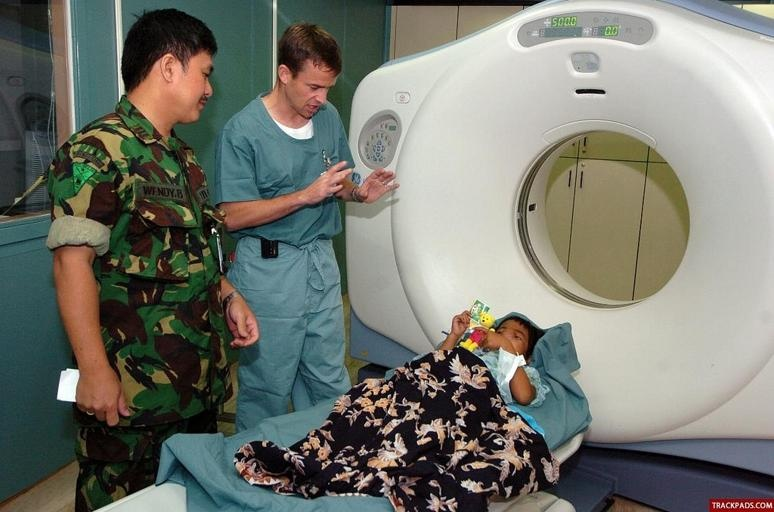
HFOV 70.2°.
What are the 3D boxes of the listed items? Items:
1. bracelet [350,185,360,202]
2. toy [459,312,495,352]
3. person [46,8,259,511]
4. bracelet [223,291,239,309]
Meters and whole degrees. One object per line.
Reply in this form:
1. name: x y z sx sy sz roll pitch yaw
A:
1. bracelet: -0.136 -0.274 2.429 0.020 0.058 0.048 4 2 1
2. toy: 0.366 0.307 2.210 0.108 0.061 0.170 19 55 36
3. person: -0.773 0.041 1.763 0.541 1.633 0.333 -3 13 -34
4. bracelet: -0.568 0.154 1.968 0.020 0.053 0.052 39 53 0
